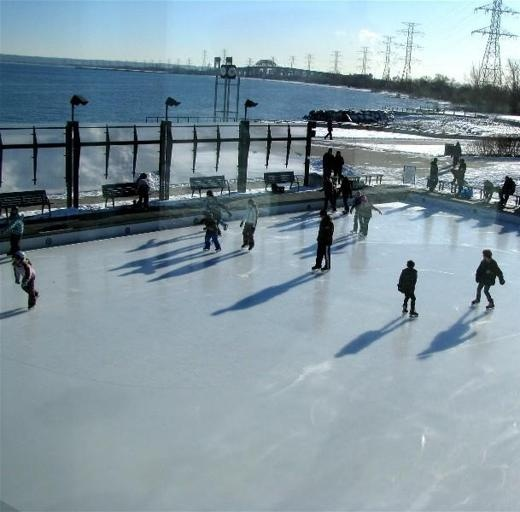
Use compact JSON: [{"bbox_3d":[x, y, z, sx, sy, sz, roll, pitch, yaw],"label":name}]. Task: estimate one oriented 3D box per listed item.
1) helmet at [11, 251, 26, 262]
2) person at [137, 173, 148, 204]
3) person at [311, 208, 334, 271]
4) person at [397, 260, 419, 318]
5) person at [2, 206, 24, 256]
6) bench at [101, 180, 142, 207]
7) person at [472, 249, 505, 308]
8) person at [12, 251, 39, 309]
[{"bbox_3d":[-4.792,0.015,10.142,0.203,0.209,0.232,13,-24,19],"label":"helmet"},{"bbox_3d":[-4.038,-2.283,17.631,0.343,1.115,1.227,-2,11,-14],"label":"person"},{"bbox_3d":[1.594,-0.406,13.002,0.476,1.589,1.065,2,11,6],"label":"person"},{"bbox_3d":[3.016,0.649,10.331,0.415,1.128,0.936,4,11,16],"label":"person"},{"bbox_3d":[-6.194,-0.576,12.885,0.451,1.244,1.810,-5,12,-25],"label":"person"},{"bbox_3d":[-5.011,-2.173,18.203,0.654,0.800,1.506,9,13,36],"label":"bench"},{"bbox_3d":[4.741,0.484,10.624,0.521,1.304,1.154,5,12,22],"label":"person"},{"bbox_3d":[-4.782,0.534,10.400,0.429,1.211,0.541,42,51,13],"label":"person"}]
